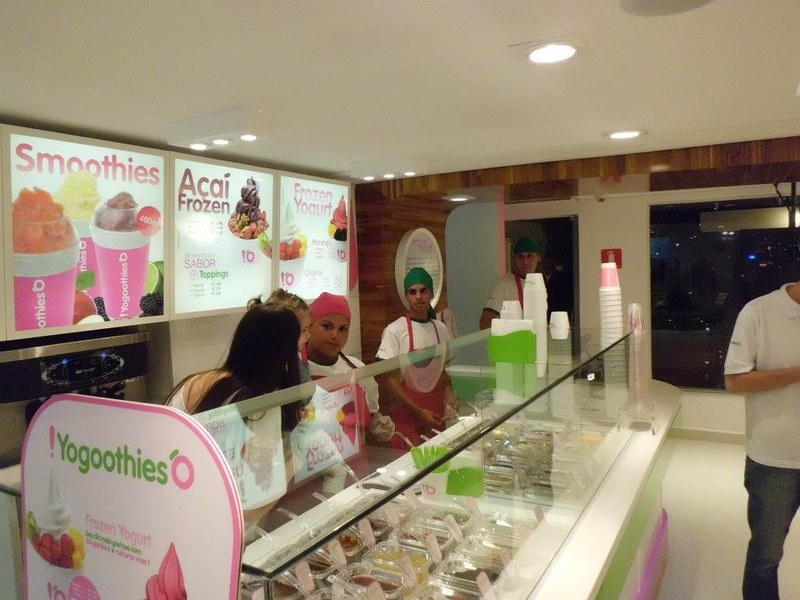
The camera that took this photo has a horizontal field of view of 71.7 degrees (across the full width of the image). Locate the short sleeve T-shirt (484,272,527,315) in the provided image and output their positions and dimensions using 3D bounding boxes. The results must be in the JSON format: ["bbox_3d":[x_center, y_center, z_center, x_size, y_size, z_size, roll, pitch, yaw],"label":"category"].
[{"bbox_3d":[0.863,-0.047,4.723,0.199,0.347,0.433,15,5,28],"label":"short sleeve T-shirt"}]

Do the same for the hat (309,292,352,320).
[{"bbox_3d":[-0.413,0.040,3.115,0.153,0.117,0.170,4,-3,-26],"label":"hat"}]

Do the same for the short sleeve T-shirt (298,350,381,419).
[{"bbox_3d":[-0.373,0.446,2.959,0.320,0.290,0.173,-4,-4,-33],"label":"short sleeve T-shirt"}]

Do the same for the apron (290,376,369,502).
[{"bbox_3d":[-0.210,0.409,1.631,0.172,0.287,0.066,14,-37,-13],"label":"apron"}]

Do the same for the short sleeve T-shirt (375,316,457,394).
[{"bbox_3d":[0.005,0.398,3.381,0.611,0.521,0.239,-3,3,-44],"label":"short sleeve T-shirt"}]

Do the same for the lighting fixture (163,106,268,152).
[{"bbox_3d":[-0.754,-0.758,2.528,0.501,0.089,0.456,0,7,28],"label":"lighting fixture"}]

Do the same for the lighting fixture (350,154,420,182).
[{"bbox_3d":[-0.086,-0.829,3.494,0.526,0.073,0.427,0,7,24],"label":"lighting fixture"}]

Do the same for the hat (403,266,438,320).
[{"bbox_3d":[0.134,-0.048,4.046,0.234,0.368,0.091,3,-1,5],"label":"hat"}]
